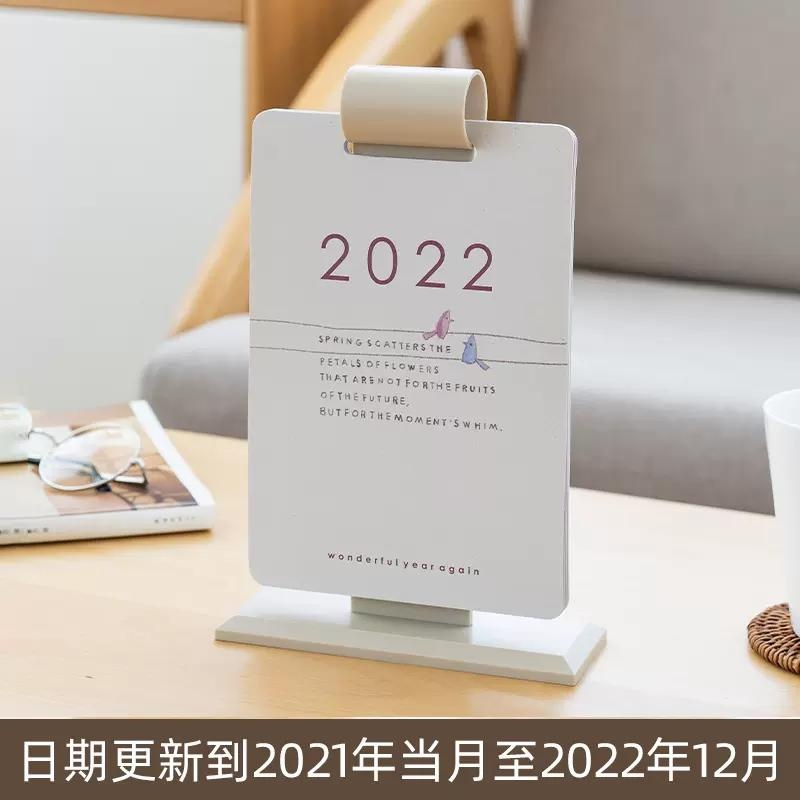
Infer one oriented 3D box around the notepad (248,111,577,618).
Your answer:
[{"bbox_3d":[0.002,-0.015,0.456,0.171,0.245,0.016,5,14,20],"label":"notepad"}]
